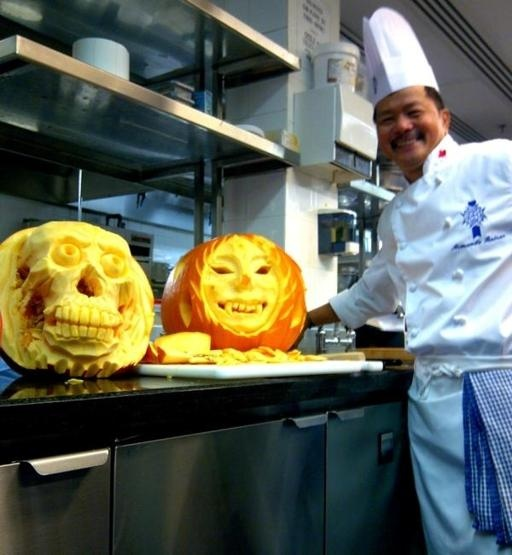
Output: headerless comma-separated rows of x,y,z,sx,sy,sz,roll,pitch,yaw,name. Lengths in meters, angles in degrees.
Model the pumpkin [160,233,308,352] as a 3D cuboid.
-0.043,0.067,1.016,0.244,0.263,0.260,3,-17,-16,pumpkin
